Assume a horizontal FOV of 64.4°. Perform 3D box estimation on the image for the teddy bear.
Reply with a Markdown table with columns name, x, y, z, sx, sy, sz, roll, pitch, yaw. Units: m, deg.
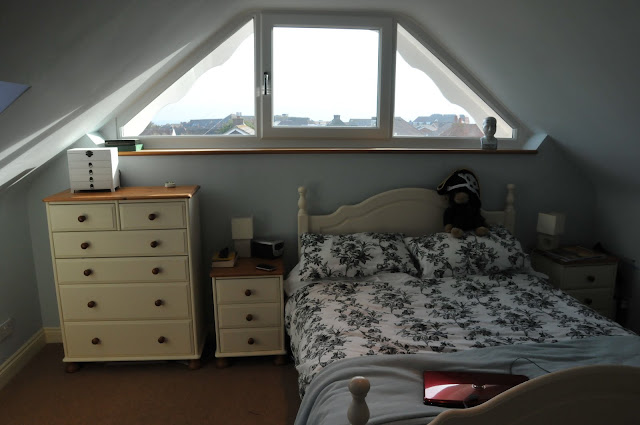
| name | x | y | z | sx | sy | sz | roll | pitch | yaw |
| --- | --- | --- | --- | --- | --- | --- | --- | --- | --- |
| teddy bear | 1.044 | -0.068 | 4.146 | 0.519 | 0.661 | 0.484 | -2 | -3 | -3 |

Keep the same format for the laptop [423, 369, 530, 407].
| name | x | y | z | sx | sy | sz | roll | pitch | yaw |
| --- | --- | --- | --- | --- | --- | --- | --- | --- | --- |
| laptop | 0.788 | 0.916 | 2.677 | 0.409 | 0.052 | 0.230 | -1 | 10 | 1 |

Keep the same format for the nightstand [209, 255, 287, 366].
| name | x | y | z | sx | sy | sz | roll | pitch | yaw |
| --- | --- | --- | --- | --- | --- | --- | --- | --- | --- |
| nightstand | -0.549 | 0.776 | 4.035 | 0.660 | 0.722 | 0.632 | -5 | 9 | -25 |

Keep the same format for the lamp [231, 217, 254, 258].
| name | x | y | z | sx | sy | sz | roll | pitch | yaw |
| --- | --- | --- | --- | --- | --- | --- | --- | --- | --- |
| lamp | -0.606 | 0.195 | 4.029 | 0.172 | 0.313 | 0.096 | -1 | 7 | -4 |
